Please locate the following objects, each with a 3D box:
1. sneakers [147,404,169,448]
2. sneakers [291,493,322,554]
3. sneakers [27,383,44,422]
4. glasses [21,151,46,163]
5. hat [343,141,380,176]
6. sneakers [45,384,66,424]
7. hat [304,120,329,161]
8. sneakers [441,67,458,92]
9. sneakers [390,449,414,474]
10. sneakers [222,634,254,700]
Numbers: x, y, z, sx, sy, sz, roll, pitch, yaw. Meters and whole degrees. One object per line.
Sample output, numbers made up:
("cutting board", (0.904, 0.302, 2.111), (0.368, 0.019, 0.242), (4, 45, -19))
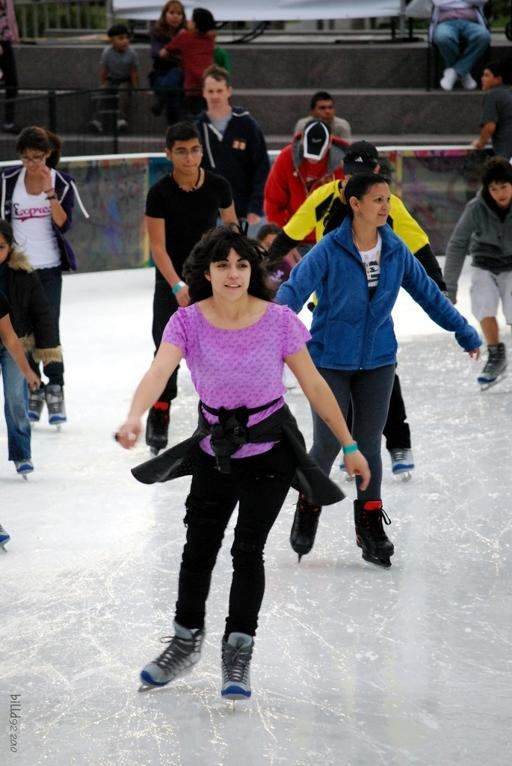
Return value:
("sneakers", (-0.570, 0.251, 4.664), (0.099, 0.277, 0.137), (0, 1, -8))
("sneakers", (0.184, 0.566, 3.175), (0.104, 0.295, 0.146), (8, -10, -10))
("sneakers", (-1.414, 0.146, 5.239), (0.104, 0.246, 0.303), (-2, 7, -15))
("glasses", (-1.362, -1.364, 4.980), (0.148, 0.076, 0.157), (-1, 7, -11))
("hat", (0.437, -0.947, 3.427), (0.140, 0.153, 0.204), (1, 7, 5))
("sneakers", (-1.243, 0.133, 5.166), (0.105, 0.306, 0.141), (-4, -44, -4))
("hat", (0.384, -1.572, 5.229), (0.166, 0.247, 0.153), (8, -23, 1))
("sneakers", (2.852, -4.463, 12.077), (0.186, 0.464, 0.207), (15, -24, -1))
("sneakers", (0.763, 0.415, 4.254), (0.118, 0.133, 0.167), (2, 7, 10))
("sneakers", (-0.035, 0.710, 2.057), (0.068, 0.179, 0.088), (1, -25, 1))
